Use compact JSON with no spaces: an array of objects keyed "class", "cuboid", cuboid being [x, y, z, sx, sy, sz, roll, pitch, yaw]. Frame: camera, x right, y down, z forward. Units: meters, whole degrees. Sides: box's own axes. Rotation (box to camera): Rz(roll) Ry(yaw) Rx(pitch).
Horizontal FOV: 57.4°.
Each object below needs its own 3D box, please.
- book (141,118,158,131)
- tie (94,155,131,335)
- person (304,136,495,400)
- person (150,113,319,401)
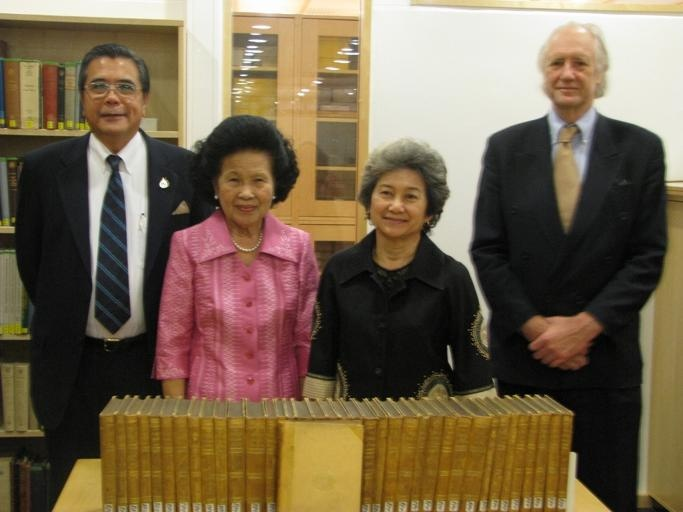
[{"class":"book","cuboid":[-1.114,-0.757,3.619,0.103,0.074,0.104,11,16,41]},{"class":"tie","cuboid":[-0.969,-0.052,2.616,0.135,0.724,0.241,-2,10,-22]},{"class":"person","cuboid":[0.225,0.056,2.284,0.672,0.945,0.285,3,10,8]},{"class":"person","cuboid":[-0.391,0.013,2.386,0.616,1.084,0.413,1,10,-2]}]
